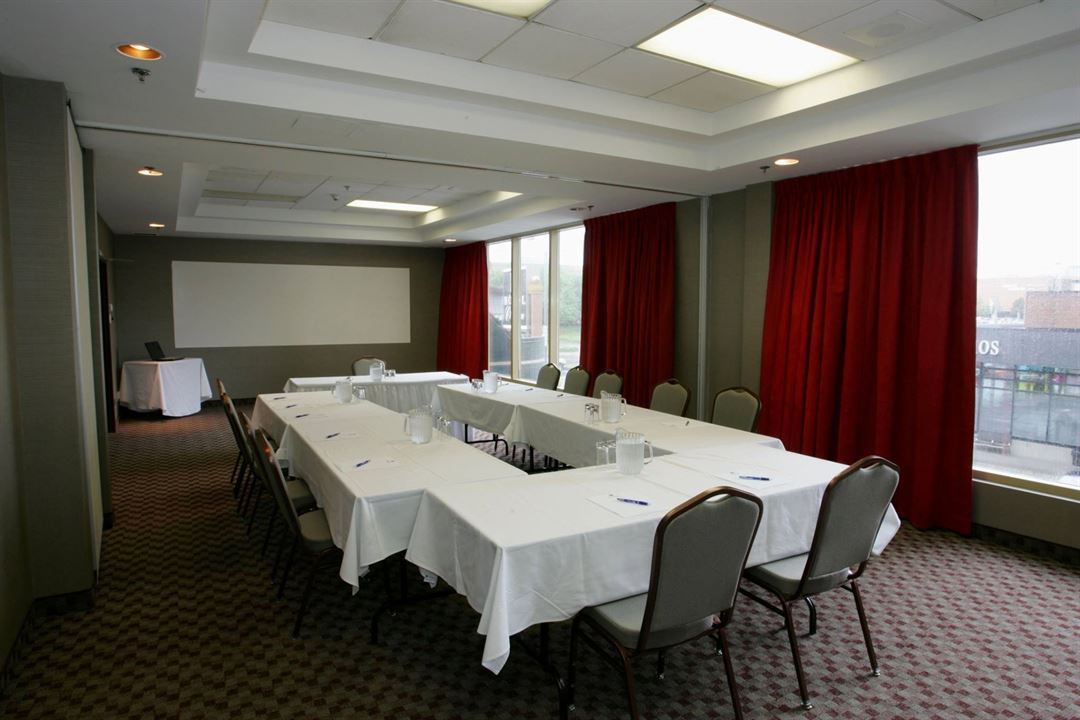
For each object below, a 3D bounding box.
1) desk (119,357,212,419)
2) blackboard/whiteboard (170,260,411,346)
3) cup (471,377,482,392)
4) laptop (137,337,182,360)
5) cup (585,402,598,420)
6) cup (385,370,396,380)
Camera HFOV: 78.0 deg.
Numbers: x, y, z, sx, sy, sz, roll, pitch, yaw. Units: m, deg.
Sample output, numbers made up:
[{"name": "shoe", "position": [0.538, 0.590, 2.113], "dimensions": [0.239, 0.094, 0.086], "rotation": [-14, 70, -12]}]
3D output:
[{"name": "desk", "position": [-5.567, 0.381, 9.922], "dimensions": [0.817, 0.846, 1.162], "rotation": [0, 1, 23]}, {"name": "blackboard/whiteboard", "position": [-4.235, -0.936, 11.422], "dimensions": [3.671, 1.511, 0.211], "rotation": [-4, 11, -22]}, {"name": "cup", "position": [-0.706, 0.268, 7.411], "dimensions": [0.141, 0.119, 0.120], "rotation": [0, -1, 2]}, {"name": "laptop", "position": [-5.752, -0.102, 9.842], "dimensions": [0.461, 0.310, 0.466], "rotation": [-5, 0, 8]}, {"name": "cup", "position": [0.451, 0.443, 5.693], "dimensions": [0.108, 0.112, 0.159], "rotation": [-3, 3, -3]}, {"name": "cup", "position": [-1.846, 0.186, 8.289], "dimensions": [0.138, 0.102, 0.136], "rotation": [0, -2, 0]}]
